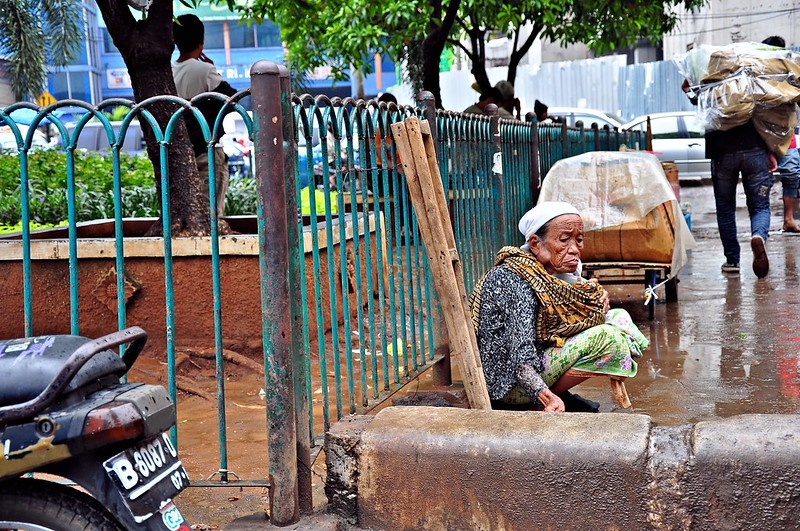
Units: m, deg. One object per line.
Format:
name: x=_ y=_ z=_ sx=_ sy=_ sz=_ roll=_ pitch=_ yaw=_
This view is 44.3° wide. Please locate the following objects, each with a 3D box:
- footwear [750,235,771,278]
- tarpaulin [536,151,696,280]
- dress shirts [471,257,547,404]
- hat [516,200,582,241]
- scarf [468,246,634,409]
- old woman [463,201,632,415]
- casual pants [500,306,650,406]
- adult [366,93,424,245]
footwear: x=3.826 y=-0.116 z=10.472 sx=0.186 sy=0.550 sz=0.213 roll=-8 pitch=23 yaw=20
tarpaulin: x=1.893 y=-0.437 z=9.392 sx=1.645 sy=1.160 sz=1.584 roll=-6 pitch=-15 yaw=30
dress shirts: x=0.747 y=0.448 z=6.598 sx=0.256 sy=0.527 sz=0.915 roll=-3 pitch=4 yaw=-14
hat: x=1.030 y=-0.298 z=6.841 sx=0.474 sy=0.380 sz=0.373 roll=-2 pitch=-2 yaw=40
scarf: x=1.035 y=0.300 z=6.886 sx=0.927 sy=0.887 sz=1.250 roll=-5 pitch=9 yaw=7
old woman: x=1.077 y=0.348 z=6.814 sx=1.221 sy=1.528 sz=1.676 roll=-1 pitch=12 yaw=7
casual pants: x=1.211 y=0.586 z=6.788 sx=0.772 sy=0.426 sz=0.616 roll=-2 pitch=11 yaw=18
adult: x=0.055 y=-0.865 z=7.289 sx=0.276 sy=0.303 sz=1.070 roll=6 pitch=-27 yaw=14
